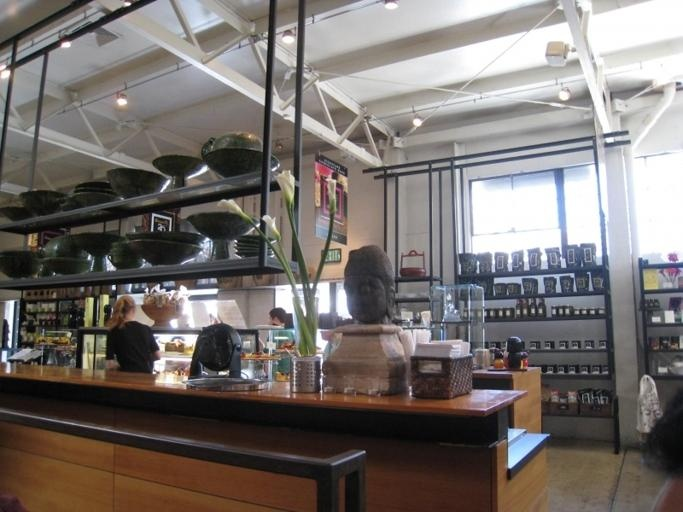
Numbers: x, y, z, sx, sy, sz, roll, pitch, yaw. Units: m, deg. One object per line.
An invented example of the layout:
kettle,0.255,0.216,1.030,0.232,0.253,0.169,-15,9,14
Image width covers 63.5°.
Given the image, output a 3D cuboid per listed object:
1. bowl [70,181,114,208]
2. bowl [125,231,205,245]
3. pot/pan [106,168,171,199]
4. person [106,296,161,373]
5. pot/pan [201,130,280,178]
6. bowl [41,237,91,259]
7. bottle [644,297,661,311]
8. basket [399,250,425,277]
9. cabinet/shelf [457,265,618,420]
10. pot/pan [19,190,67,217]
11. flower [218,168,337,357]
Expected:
bowl,-1.759,-0.411,3.902,0.256,0.086,0.255,-2,-4,0
bowl,-1.089,-0.116,3.422,0.464,0.082,0.128,0,-6,-12
pot/pan,-1.388,-0.485,3.728,0.374,0.220,0.220,-1,-6,1
person,-2.042,0.747,5.368,0.510,0.736,0.283,0,-6,-12
pot/pan,-0.643,-0.555,3.252,0.352,0.195,0.336,0,3,14
bowl,-2.027,-0.039,3.977,0.221,0.119,0.219,-1,-1,0
bottle,4.050,0.631,7.214,0.183,0.148,0.174,1,-7,-4
basket,1.066,0.116,8.391,0.377,0.362,0.207,-3,-13,20
cabinet/shelf,2.452,1.004,6.534,2.402,2.031,0.712,-1,0,28
pot/pan,-2.255,-0.414,4.149,0.280,0.114,0.267,-1,0,9
flower,-0.347,0.017,3.304,0.633,1.143,0.762,-1,-6,0
